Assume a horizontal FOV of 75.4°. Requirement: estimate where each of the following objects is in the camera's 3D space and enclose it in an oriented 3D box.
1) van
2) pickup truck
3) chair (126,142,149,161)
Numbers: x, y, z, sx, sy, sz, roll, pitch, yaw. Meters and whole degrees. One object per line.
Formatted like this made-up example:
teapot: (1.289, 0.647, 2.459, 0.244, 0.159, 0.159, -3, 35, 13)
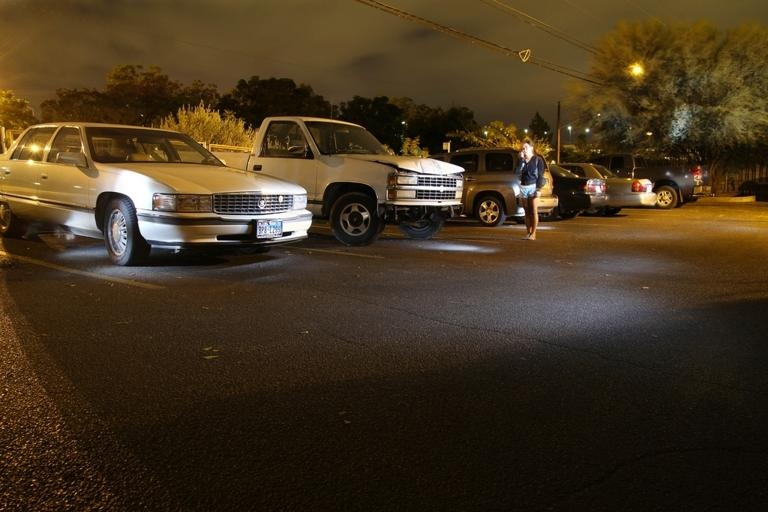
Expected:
van: (3.507, -2.385, 16.710, 4.030, 1.865, 2.347, 7, 10, 28)
pickup truck: (-1.485, -1.826, 12.151, 5.661, 2.076, 2.973, 10, 10, 31)
chair: (-4.832, -2.018, 9.609, 0.317, 0.428, 0.410, 3, 10, 1)
